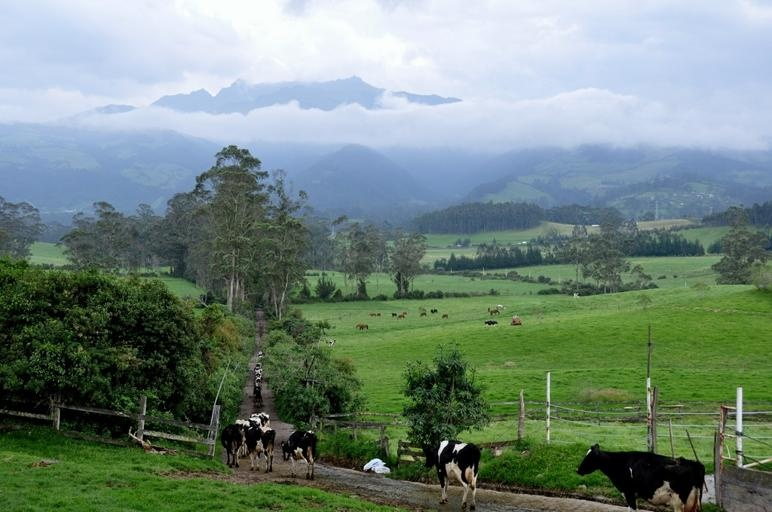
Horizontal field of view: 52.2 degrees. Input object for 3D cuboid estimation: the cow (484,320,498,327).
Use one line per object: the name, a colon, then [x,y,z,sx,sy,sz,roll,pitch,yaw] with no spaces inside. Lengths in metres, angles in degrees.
cow: [16.367,10.769,122.844,1.985,1.039,0.841,-1,3,-7]

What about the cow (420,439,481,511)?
cow: [5.294,16.727,60.178,2.852,4.888,3.899,5,-7,-36]
